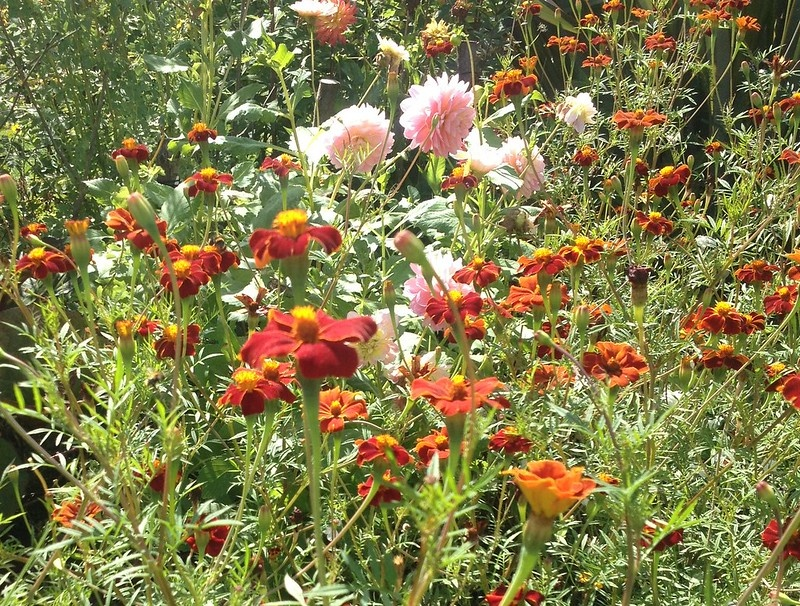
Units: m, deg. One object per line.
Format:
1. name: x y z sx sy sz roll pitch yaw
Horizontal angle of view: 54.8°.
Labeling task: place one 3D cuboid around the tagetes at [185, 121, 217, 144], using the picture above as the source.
1. tagetes: -0.615 -0.527 2.430 0.090 0.078 0.094 -9 6 -26

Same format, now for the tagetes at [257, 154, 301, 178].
1. tagetes: -0.352 -0.420 2.335 0.126 0.089 0.138 -6 9 -26

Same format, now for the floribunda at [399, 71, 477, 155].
1. floribunda: 0.120 -0.582 2.407 0.216 0.264 0.207 -18 36 -32

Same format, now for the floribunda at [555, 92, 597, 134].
1. floribunda: 0.634 -0.684 2.803 0.133 0.181 0.236 8 32 8
